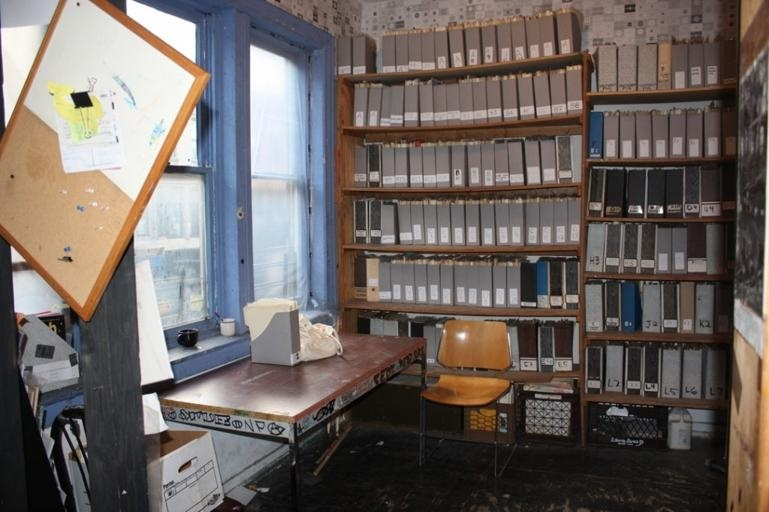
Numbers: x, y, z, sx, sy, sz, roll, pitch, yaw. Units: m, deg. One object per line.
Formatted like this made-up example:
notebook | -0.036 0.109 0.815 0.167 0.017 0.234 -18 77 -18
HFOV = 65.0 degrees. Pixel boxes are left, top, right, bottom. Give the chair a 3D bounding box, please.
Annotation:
chair | 0.570 0.939 4.222 0.628 0.960 0.787 2 10 12

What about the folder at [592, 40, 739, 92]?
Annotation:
folder | 1.978 -1.344 4.279 0.886 0.328 0.115 3 10 16

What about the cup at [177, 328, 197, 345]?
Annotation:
cup | -1.185 0.483 3.620 0.078 0.073 0.108 -1 -4 -1

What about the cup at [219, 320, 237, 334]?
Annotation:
cup | -1.012 0.460 3.923 0.087 0.089 0.092 0 -3 0
